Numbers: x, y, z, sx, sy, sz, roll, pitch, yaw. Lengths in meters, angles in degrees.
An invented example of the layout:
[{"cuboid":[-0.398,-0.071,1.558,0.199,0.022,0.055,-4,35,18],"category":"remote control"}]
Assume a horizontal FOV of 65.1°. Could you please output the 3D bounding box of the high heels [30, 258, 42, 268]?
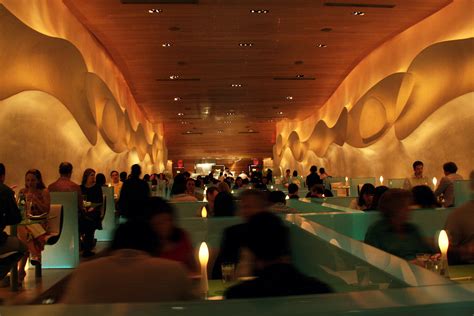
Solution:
[{"cuboid":[-2.736,1.409,5.032,0.143,0.124,0.152,3,-36,-11],"category":"high heels"}]
